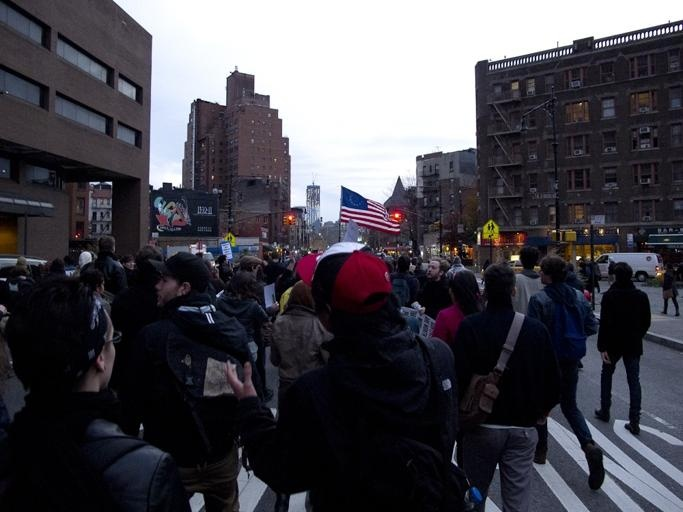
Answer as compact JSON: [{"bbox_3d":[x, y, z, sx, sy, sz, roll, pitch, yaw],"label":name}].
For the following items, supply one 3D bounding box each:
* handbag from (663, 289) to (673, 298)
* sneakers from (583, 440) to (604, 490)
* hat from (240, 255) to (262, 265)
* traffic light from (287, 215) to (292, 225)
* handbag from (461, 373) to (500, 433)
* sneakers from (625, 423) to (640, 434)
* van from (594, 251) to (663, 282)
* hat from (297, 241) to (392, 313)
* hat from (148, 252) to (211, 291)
[{"bbox_3d":[10.982,1.247,19.335,0.350,0.303,0.215,-2,7,14],"label":"handbag"},{"bbox_3d":[2.650,2.178,6.064,0.168,0.540,0.194,-7,4,2],"label":"sneakers"},{"bbox_3d":[-1.595,0.060,9.841,0.275,0.102,0.296,5,-4,-36],"label":"hat"},{"bbox_3d":[-3.604,-2.545,39.523,0.471,0.581,1.771,2,4,-6],"label":"traffic light"},{"bbox_3d":[1.087,1.144,4.565,0.288,0.462,0.114,4,4,16],"label":"handbag"},{"bbox_3d":[3.837,2.242,7.593,0.080,0.124,0.264,0,5,2],"label":"sneakers"},{"bbox_3d":[15.240,0.523,30.182,2.871,1.476,1.752,2,0,31],"label":"van"},{"bbox_3d":[0.052,0.130,3.368,0.464,0.371,0.243,4,4,13],"label":"hat"},{"bbox_3d":[-1.231,0.116,4.370,0.421,0.297,0.245,1,4,-22],"label":"hat"}]
